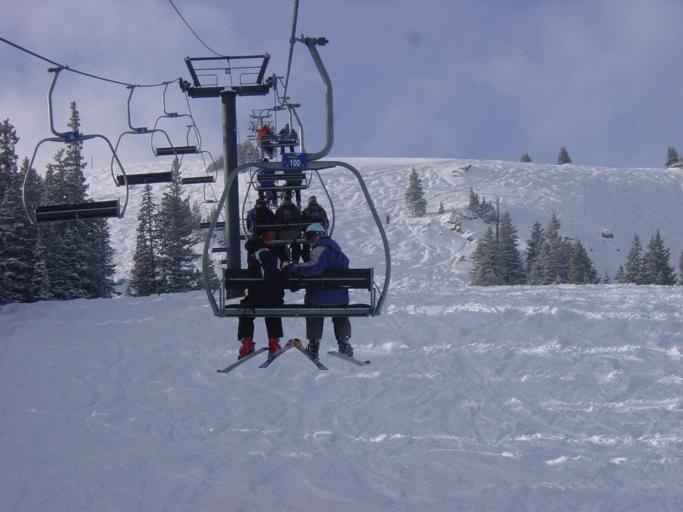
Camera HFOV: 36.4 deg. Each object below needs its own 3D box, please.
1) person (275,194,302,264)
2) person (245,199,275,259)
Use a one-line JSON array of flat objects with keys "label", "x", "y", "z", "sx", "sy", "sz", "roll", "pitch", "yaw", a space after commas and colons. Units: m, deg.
[{"label": "person", "x": -2.019, "y": -1.079, "z": 39.475, "sx": 0.794, "sy": 2.500, "sz": 0.631, "roll": -1, "pitch": 3, "yaw": -16}, {"label": "person", "x": -3.126, "y": -1.033, "z": 39.143, "sx": 0.875, "sy": 2.187, "sz": 0.705, "roll": -1, "pitch": 6, "yaw": 1}]
